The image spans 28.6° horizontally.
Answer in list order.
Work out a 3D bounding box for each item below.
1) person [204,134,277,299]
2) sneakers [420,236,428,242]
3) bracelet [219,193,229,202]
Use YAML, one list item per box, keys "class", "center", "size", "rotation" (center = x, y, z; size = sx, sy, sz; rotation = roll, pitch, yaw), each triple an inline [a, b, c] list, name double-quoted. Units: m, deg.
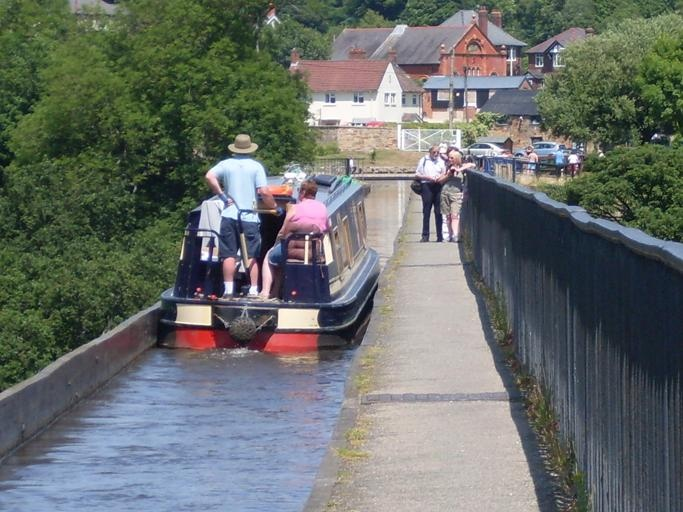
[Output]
- class: "person"
  center: [-1.792, -0.611, 23.756]
  size: [1.101, 2.877, 0.899]
  rotation: [-11, 15, -41]
- class: "sneakers"
  center: [1.968, -0.327, 32.223]
  size: [0.170, 0.156, 0.111]
  rotation: [6, 4, 17]
- class: "bracelet"
  center: [-2.112, -0.962, 23.620]
  size: [0.140, 0.178, 0.167]
  rotation: [-6, 12, -21]
